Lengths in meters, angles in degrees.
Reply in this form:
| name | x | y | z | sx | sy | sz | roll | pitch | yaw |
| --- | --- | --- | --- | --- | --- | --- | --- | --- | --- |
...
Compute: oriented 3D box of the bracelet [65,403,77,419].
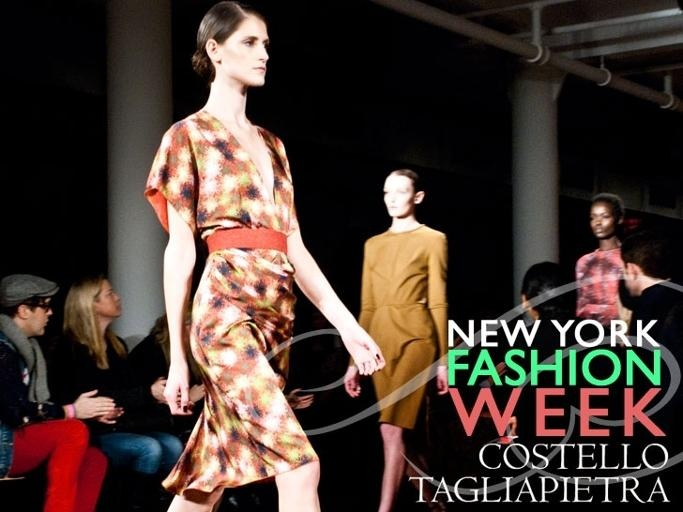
| name | x | y | z | sx | sy | sz | roll | pitch | yaw |
| --- | --- | --- | --- | --- | --- | --- | --- | --- | --- |
| bracelet | -1.174 | 0.675 | 3.715 | 0.040 | 0.056 | 0.056 | 1 | -48 | -9 |
